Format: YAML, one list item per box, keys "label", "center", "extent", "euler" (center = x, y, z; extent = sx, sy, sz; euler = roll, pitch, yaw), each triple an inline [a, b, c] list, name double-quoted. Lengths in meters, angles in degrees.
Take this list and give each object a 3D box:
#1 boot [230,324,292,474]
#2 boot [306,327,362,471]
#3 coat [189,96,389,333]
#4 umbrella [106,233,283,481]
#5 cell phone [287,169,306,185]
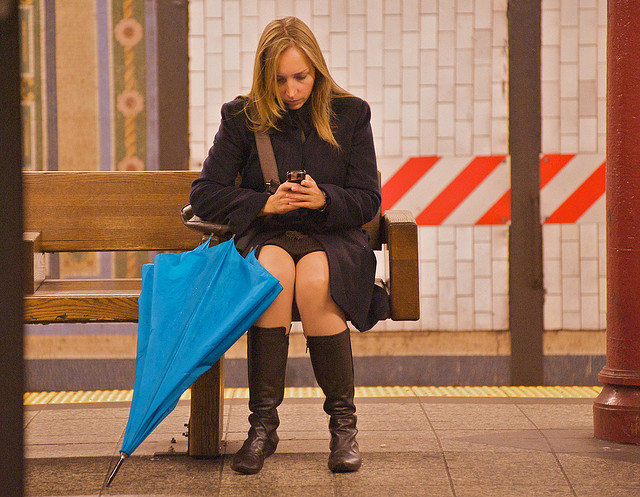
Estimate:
- label: "boot"
  center: [-0.272, 0.682, 5.756]
  extent: [0.219, 0.664, 0.240]
  euler: [2, 6, 4]
- label: "boot"
  center: [0.089, 0.685, 5.804]
  extent: [0.206, 0.628, 0.288]
  euler: [-3, 8, -45]
- label: "coat"
  center: [-0.147, -0.163, 6.008]
  extent: [0.861, 1.148, 0.798]
  euler: [-1, 14, -2]
- label: "umbrella"
  center: [-0.579, 0.461, 5.879]
  extent: [0.705, 1.139, 0.265]
  euler: [23, -17, 7]
- label: "cell phone"
  center: [-0.110, -0.327, 5.748]
  extent: [0.078, 0.059, 0.047]
  euler: [2, 6, -2]
